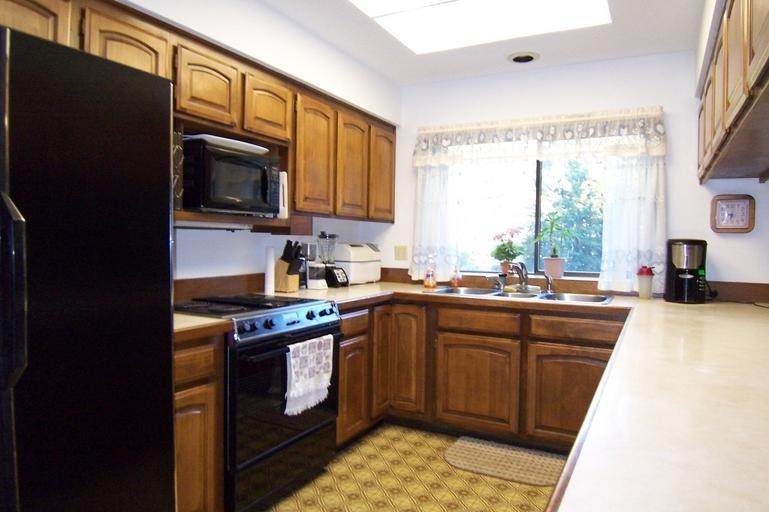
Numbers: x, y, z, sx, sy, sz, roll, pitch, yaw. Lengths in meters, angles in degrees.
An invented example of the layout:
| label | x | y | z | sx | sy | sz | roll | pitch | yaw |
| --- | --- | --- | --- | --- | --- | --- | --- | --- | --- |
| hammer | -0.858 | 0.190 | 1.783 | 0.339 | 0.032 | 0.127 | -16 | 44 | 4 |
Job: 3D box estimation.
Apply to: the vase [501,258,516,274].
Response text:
| label | x | y | z | sx | sy | sz | roll | pitch | yaw |
| --- | --- | --- | --- | --- | --- | --- | --- | --- | --- |
| vase | 0.936 | 0.083 | 3.998 | 0.092 | 0.069 | 0.096 | 0 | 1 | 28 |

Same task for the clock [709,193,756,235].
| label | x | y | z | sx | sy | sz | roll | pitch | yaw |
| --- | --- | --- | --- | --- | --- | --- | --- | --- | --- |
| clock | 2.325 | -0.280 | 3.501 | 0.285 | 0.310 | 0.032 | 2 | -1 | 34 |

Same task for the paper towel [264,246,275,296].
| label | x | y | z | sx | sy | sz | roll | pitch | yaw |
| --- | --- | --- | --- | --- | --- | --- | --- | --- | --- |
| paper towel | -0.761 | 0.086 | 3.507 | 0.069 | 0.284 | 0.068 | 3 | -8 | -30 |

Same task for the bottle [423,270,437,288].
| label | x | y | z | sx | sy | sz | roll | pitch | yaw |
| --- | --- | --- | --- | --- | --- | --- | --- | --- | --- |
| bottle | 0.349 | 0.175 | 4.131 | 0.094 | 0.123 | 0.195 | 0 | 12 | 5 |

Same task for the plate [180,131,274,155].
| label | x | y | z | sx | sy | sz | roll | pitch | yaw |
| --- | --- | --- | --- | --- | --- | --- | --- | --- | --- |
| plate | -0.862 | -0.618 | 2.915 | 0.163 | 0.038 | 0.266 | 0 | -4 | 34 |

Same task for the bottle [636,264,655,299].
| label | x | y | z | sx | sy | sz | roll | pitch | yaw |
| --- | --- | --- | --- | --- | --- | --- | --- | --- | --- |
| bottle | 1.780 | 0.178 | 3.603 | 0.095 | 0.216 | 0.074 | -1 | 12 | 1 |

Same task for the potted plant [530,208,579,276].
| label | x | y | z | sx | sy | sz | roll | pitch | yaw |
| --- | --- | --- | --- | --- | --- | --- | --- | --- | --- |
| potted plant | 1.307 | -0.179 | 4.147 | 0.433 | 0.459 | 0.381 | -2 | 3 | 19 |

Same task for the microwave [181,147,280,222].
| label | x | y | z | sx | sy | sz | roll | pitch | yaw |
| --- | --- | --- | --- | --- | --- | --- | --- | --- | --- |
| microwave | -0.853 | -0.427 | 2.934 | 0.158 | 0.419 | 0.563 | 9 | 15 | 40 |

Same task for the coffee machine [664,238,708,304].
| label | x | y | z | sx | sy | sz | roll | pitch | yaw |
| --- | --- | --- | --- | --- | --- | --- | --- | --- | --- |
| coffee machine | 1.937 | 0.094 | 3.398 | 0.236 | 0.411 | 0.219 | 6 | 14 | 30 |

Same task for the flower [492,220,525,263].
| label | x | y | z | sx | sy | sz | roll | pitch | yaw |
| --- | --- | --- | --- | --- | --- | --- | --- | --- | --- |
| flower | 0.936 | -0.110 | 4.138 | 0.279 | 0.266 | 0.276 | 0 | -3 | -1 |

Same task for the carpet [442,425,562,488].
| label | x | y | z | sx | sy | sz | roll | pitch | yaw |
| --- | --- | --- | --- | --- | --- | --- | --- | --- | --- |
| carpet | 0.739 | 1.290 | 3.336 | 0.720 | 0.045 | 0.456 | 4 | 13 | 23 |

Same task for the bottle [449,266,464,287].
| label | x | y | z | sx | sy | sz | roll | pitch | yaw |
| --- | --- | --- | --- | --- | --- | --- | --- | --- | --- |
| bottle | 0.567 | 0.155 | 4.188 | 0.092 | 0.155 | 0.143 | 2 | 12 | 14 |

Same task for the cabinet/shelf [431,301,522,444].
| label | x | y | z | sx | sy | sz | roll | pitch | yaw |
| --- | --- | --- | --- | --- | --- | --- | --- | --- | --- |
| cabinet/shelf | 0.744 | 0.783 | 3.804 | 0.799 | 1.100 | 0.756 | -2 | -4 | 30 |

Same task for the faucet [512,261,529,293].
| label | x | y | z | sx | sy | sz | roll | pitch | yaw |
| --- | --- | --- | --- | --- | --- | --- | --- | --- | --- |
| faucet | 1.014 | 0.144 | 3.942 | 0.124 | 0.219 | 0.165 | 2 | 12 | 14 |

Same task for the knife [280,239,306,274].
| label | x | y | z | sx | sy | sz | roll | pitch | yaw |
| --- | --- | --- | --- | --- | --- | --- | --- | --- | --- |
| knife | -0.630 | 0.010 | 3.564 | 0.150 | 0.270 | 0.148 | -7 | 29 | -39 |

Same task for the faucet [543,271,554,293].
| label | x | y | z | sx | sy | sz | roll | pitch | yaw |
| --- | --- | --- | --- | --- | --- | --- | --- | --- | --- |
| faucet | 1.212 | 0.197 | 3.875 | 0.060 | 0.136 | 0.181 | 2 | 12 | 15 |

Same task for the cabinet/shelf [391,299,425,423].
| label | x | y | z | sx | sy | sz | roll | pitch | yaw |
| --- | --- | --- | --- | --- | --- | --- | --- | --- | --- |
| cabinet/shelf | 0.175 | 0.730 | 3.758 | 0.255 | 0.733 | 0.177 | 2 | 12 | 13 |

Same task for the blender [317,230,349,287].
| label | x | y | z | sx | sy | sz | roll | pitch | yaw |
| --- | --- | --- | --- | --- | --- | --- | --- | --- | --- |
| blender | -0.420 | 0.024 | 4.010 | 0.263 | 0.426 | 0.190 | 0 | 2 | 26 |
